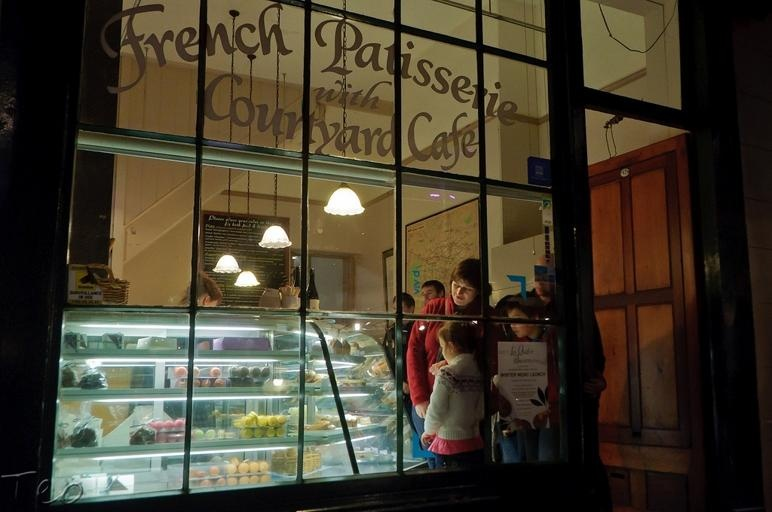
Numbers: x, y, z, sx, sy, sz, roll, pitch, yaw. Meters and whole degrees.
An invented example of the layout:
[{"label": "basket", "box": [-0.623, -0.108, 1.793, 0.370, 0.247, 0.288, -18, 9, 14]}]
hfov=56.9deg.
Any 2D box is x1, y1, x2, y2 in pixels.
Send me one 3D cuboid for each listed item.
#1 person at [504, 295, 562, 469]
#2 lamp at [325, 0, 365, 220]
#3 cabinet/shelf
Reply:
[{"label": "person", "box": [0.676, 0.573, 3.275, 0.266, 0.725, 0.092, 2, -13, -19]}, {"label": "lamp", "box": [-0.178, -0.645, 3.163, 0.147, 0.971, 0.171, -9, -14, 30]}, {"label": "cabinet/shelf", "box": [-0.780, 0.615, 2.933, 0.235, 0.686, 1.388, -15, -17, 29]}]
